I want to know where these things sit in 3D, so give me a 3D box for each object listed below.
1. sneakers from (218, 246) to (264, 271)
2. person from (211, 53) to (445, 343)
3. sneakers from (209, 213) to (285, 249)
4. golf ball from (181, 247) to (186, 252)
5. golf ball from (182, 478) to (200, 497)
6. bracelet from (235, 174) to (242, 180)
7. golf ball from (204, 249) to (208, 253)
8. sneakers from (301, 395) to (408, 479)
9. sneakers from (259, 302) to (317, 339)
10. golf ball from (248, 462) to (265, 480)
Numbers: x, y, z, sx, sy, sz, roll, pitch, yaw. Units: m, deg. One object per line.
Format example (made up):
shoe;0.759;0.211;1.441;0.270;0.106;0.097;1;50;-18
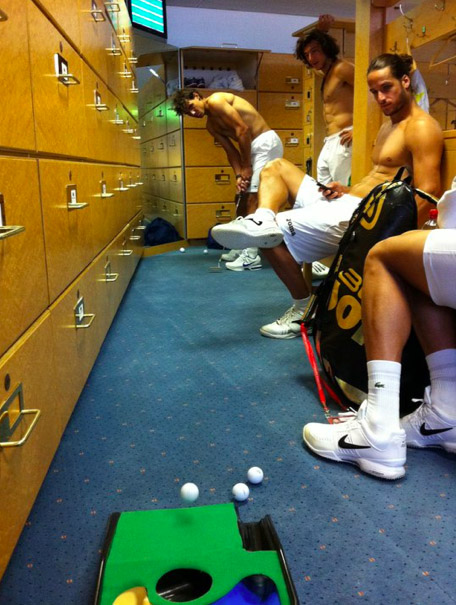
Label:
sneakers;0.141;-0.406;3.998;0.276;0.118;0.326;2;16;-7
person;0.447;-0.468;2.059;1.103;1.245;0.546;-5;16;-10
sneakers;0.094;-0.333;1.974;0.316;0.168;0.280;0;10;6
golf ball;-0.524;-0.625;4.998;0.064;0.063;0.064;7;0;0
golf ball;-0.075;0.370;0.845;0.026;0.035;0.031;-9;12;-38
bracelet;0.097;-1.113;3.768;0.034;0.026;0.083;2;9;-29
golf ball;-0.241;-0.588;4.817;0.051;0.038;0.044;-17;20;-28
sneakers;0.301;0.313;1.115;0.108;0.150;0.313;-4;12;-35
sneakers;0.276;0.085;2.167;0.312;0.134;0.113;-14;17;-7
golf ball;0.064;0.383;0.982;0.039;0.036;0.056;0;9;3
